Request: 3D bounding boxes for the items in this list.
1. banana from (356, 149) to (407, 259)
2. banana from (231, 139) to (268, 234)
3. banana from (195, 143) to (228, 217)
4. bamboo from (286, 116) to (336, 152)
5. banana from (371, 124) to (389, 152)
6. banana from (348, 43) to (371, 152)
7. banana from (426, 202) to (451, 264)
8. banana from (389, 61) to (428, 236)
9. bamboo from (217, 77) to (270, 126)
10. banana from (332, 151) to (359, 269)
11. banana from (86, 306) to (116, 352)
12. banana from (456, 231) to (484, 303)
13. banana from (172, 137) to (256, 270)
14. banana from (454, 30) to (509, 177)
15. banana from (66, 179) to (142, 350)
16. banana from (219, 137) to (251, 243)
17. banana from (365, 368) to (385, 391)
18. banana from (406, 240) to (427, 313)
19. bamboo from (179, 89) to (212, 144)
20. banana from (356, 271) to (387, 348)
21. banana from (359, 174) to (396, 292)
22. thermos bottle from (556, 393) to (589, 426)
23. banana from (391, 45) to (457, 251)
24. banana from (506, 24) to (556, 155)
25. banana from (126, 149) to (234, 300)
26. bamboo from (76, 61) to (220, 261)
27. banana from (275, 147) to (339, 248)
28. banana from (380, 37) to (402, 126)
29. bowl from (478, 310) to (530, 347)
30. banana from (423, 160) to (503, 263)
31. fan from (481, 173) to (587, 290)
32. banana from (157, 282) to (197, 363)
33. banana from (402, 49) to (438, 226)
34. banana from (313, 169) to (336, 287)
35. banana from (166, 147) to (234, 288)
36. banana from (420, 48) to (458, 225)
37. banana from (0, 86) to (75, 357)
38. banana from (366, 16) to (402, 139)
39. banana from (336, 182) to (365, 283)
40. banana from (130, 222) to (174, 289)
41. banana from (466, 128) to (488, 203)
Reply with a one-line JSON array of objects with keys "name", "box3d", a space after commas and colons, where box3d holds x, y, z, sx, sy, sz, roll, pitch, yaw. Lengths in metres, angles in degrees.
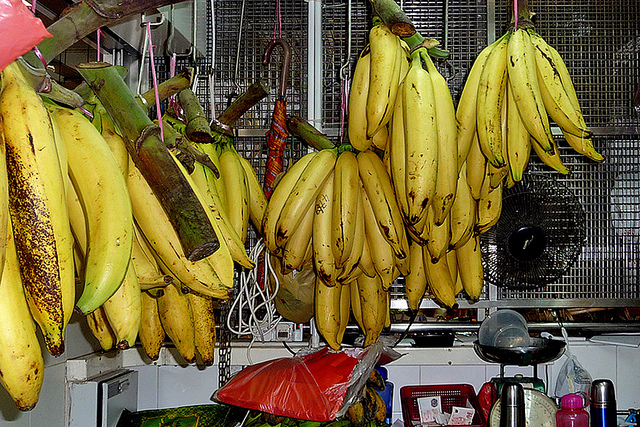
[{"name": "banana", "box3d": [0.150, -0.067, 2.129, 0.107, 0.446, 0.100, -26, -45, 29]}, {"name": "banana", "box3d": [-0.228, -0.086, 2.296, 0.060, 0.354, 0.107, -11, 7, 29]}, {"name": "banana", "box3d": [-0.281, -0.085, 1.837, 0.022, 0.222, 0.041, -34, -34, 32]}, {"name": "bamboo", "box3d": [-0.036, -0.288, 2.546, 0.217, 0.061, 0.064, 41, 5, 22]}, {"name": "banana", "box3d": [0.173, -0.221, 2.078, 0.044, 0.078, 0.022, 21, -13, -24]}, {"name": "banana", "box3d": [0.113, -0.323, 2.036, 0.064, 0.314, 0.057, -4, -7, 27]}, {"name": "banana", "box3d": [0.335, 0.071, 2.027, 0.051, 0.216, 0.062, 6, 14, 23]}, {"name": "banana", "box3d": [0.224, -0.188, 1.995, 0.077, 0.471, 0.140, -5, -14, 22]}, {"name": "bamboo", "box3d": [-0.275, -0.414, 2.585, 0.077, 0.266, 0.076, 46, -3, -34]}, {"name": "banana", "box3d": [0.075, -0.015, 2.078, 0.074, 0.352, 0.114, 1, -1, 3]}, {"name": "banana", "box3d": [-0.542, 0.294, 1.751, 0.048, 0.074, 0.184, -6, 20, -29]}, {"name": "banana", "box3d": [0.465, 0.165, 2.227, 0.053, 0.253, 0.071, -3, 4, 11]}, {"name": "banana", "box3d": [-0.271, -0.030, 1.782, 0.052, 0.409, 0.079, -26, -11, -4]}, {"name": "banana", "box3d": [0.454, -0.301, 2.000, 0.071, 0.591, 0.103, -6, -21, 36]}, {"name": "banana", "box3d": [-0.470, 0.050, 1.644, 0.109, 0.479, 0.132, -19, 16, -37]}, {"name": "banana", "box3d": [-0.244, -0.072, 2.138, 0.067, 0.356, 0.108, -6, -25, -9]}, {"name": "banana", "box3d": [0.209, 0.629, 2.649, 0.053, 0.085, 0.132, 1, -2, 14]}, {"name": "banana", "box3d": [0.300, 0.194, 2.227, 0.049, 0.228, 0.066, 1, -6, -11]}, {"name": "bamboo", "box3d": [-0.357, -0.295, 2.042, 0.059, 0.215, 0.054, -19, -30, 6]}, {"name": "banana", "box3d": [0.167, 0.289, 2.318, 0.078, 0.280, 0.068, -5, 2, 17]}, {"name": "banana", "box3d": [0.199, 0.087, 2.180, 0.114, 0.411, 0.074, 3, 15, 42]}, {"name": "thermos bottle", "box3d": [0.865, 0.675, 2.439, 0.104, 0.106, 0.079, 1, -2, 24]}, {"name": "banana", "box3d": [0.289, -0.230, 1.945, 0.145, 0.592, 0.152, 0, -23, 10]}, {"name": "banana", "box3d": [0.564, -0.339, 1.978, 0.116, 0.448, 0.086, -7, -4, 0]}, {"name": "banana", "box3d": [-0.329, 0.032, 1.630, 0.055, 0.355, 0.113, -27, 2, 36]}, {"name": "bamboo", "box3d": [-0.405, -0.112, 1.665, 0.107, 0.555, 0.103, -24, -1, -21]}, {"name": "banana", "box3d": [-0.034, -0.040, 2.101, 0.052, 0.305, 0.072, 23, -21, -6]}, {"name": "banana", "box3d": [0.206, -0.382, 2.003, 0.043, 0.270, 0.039, 10, -12, -19]}, {"name": "bowl", "box3d": [0.677, 0.419, 2.615, 0.181, 0.123, 0.158, 1, -2, 11]}, {"name": "banana", "box3d": [0.421, 0.020, 2.059, 0.162, 0.382, 0.109, 18, -17, 13]}, {"name": "fan", "box3d": [0.834, 0.088, 2.766, 0.407, 0.505, 0.106, 12, -5, -8]}, {"name": "banana", "box3d": [-0.364, 0.280, 1.892, 0.064, 0.266, 0.074, -13, -1, -33]}, {"name": "banana", "box3d": [0.261, -0.243, 1.929, 0.083, 0.502, 0.091, 5, -26, -1]}, {"name": "banana", "box3d": [0.017, 0.044, 2.084, 0.056, 0.329, 0.091, -4, -15, 44]}, {"name": "banana", "box3d": [-0.283, 0.017, 1.647, 0.045, 0.375, 0.061, -20, 10, -7]}, {"name": "banana", "box3d": [0.343, -0.214, 1.945, 0.086, 0.460, 0.084, -7, 7, 14]}, {"name": "banana", "box3d": [-0.607, -0.047, 1.531, 0.109, 0.676, 0.118, -3, -9, -26]}, {"name": "banana", "box3d": [0.172, -0.389, 1.954, 0.070, 0.386, 0.111, 5, -9, 29]}, {"name": "banana", "box3d": [0.111, 0.076, 2.144, 0.093, 0.338, 0.057, -10, -23, 40]}, {"name": "banana", "box3d": [-0.388, 0.088, 1.640, 0.038, 0.126, 0.074, -24, -5, -45]}, {"name": "banana", "box3d": [0.456, -0.137, 2.084, 0.041, 0.245, 0.070, 0, -4, 27]}]
